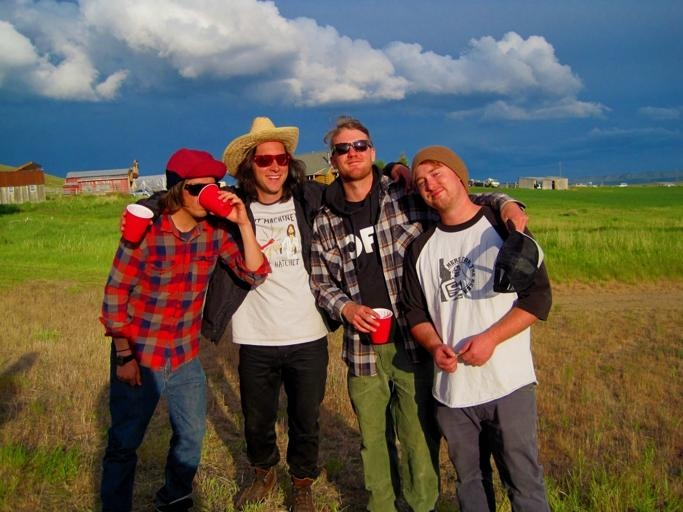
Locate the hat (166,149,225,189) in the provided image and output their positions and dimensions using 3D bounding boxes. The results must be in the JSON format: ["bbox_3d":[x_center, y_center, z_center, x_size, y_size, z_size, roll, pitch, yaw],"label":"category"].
[{"bbox_3d":[-1.370,-0.834,4.547,0.538,0.346,0.243,-4,11,-18],"label":"hat"}]

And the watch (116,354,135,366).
[{"bbox_3d":[-1.960,0.927,4.372,0.097,0.068,0.115,-12,2,3],"label":"watch"}]

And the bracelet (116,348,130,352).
[{"bbox_3d":[-1.980,0.845,4.380,0.109,0.029,0.021,-2,10,-7],"label":"bracelet"}]

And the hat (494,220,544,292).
[{"bbox_3d":[1.418,-0.009,4.040,0.346,0.505,0.491,22,58,41],"label":"hat"}]

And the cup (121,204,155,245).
[{"bbox_3d":[-1.822,-0.320,4.429,0.294,0.336,0.322,25,16,-8],"label":"cup"}]

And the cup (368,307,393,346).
[{"bbox_3d":[0.399,0.663,4.605,0.268,0.306,0.281,0,-5,0],"label":"cup"}]
